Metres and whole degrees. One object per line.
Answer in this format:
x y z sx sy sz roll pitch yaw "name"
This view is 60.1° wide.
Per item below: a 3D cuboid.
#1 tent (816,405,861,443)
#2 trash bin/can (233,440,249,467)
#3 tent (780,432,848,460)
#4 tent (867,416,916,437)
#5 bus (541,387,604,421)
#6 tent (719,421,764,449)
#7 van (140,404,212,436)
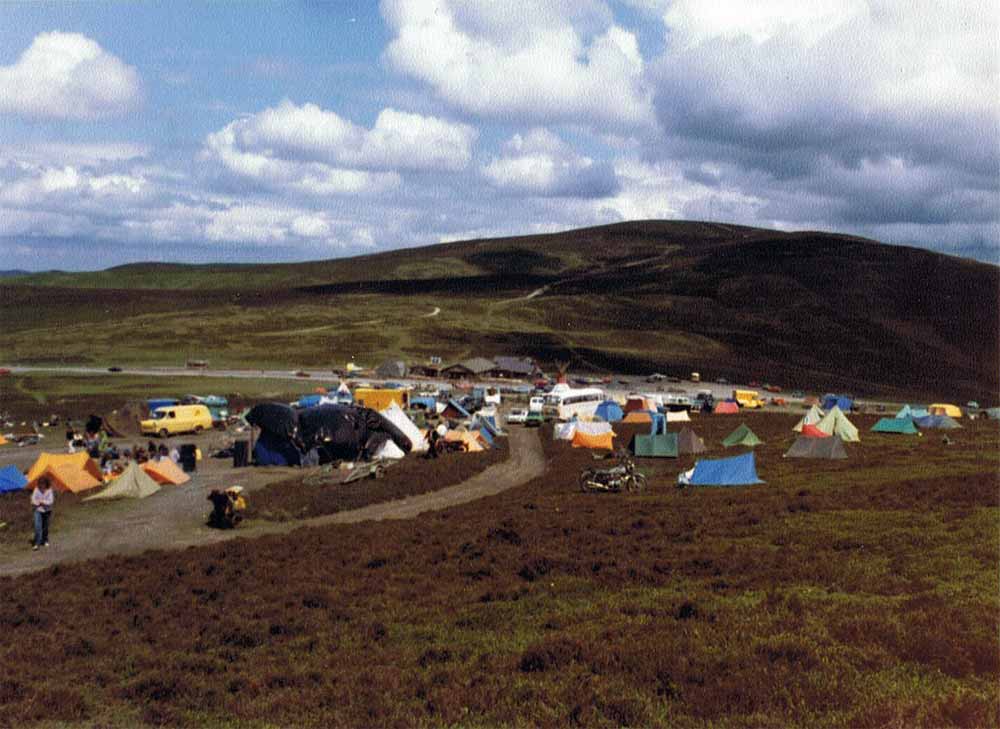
24.197 4.353 61.691 3.281 1.750 3.230 11 -2 -41 "tent"
-16.153 5.536 54.302 1.016 1.496 0.780 -1 3 -19 "trash bin/can"
19.074 4.921 52.224 3.227 1.346 1.851 2 3 38 "tent"
31.955 5.072 70.245 1.792 1.098 2.333 -1 -4 -42 "tent"
8.179 3.948 90.641 7.681 3.995 2.687 4 -6 -43 "bus"
17.161 5.248 61.787 1.938 1.056 2.020 -1 1 37 "tent"
-26.866 4.599 71.647 2.427 2.162 4.705 -4 -4 36 "van"
